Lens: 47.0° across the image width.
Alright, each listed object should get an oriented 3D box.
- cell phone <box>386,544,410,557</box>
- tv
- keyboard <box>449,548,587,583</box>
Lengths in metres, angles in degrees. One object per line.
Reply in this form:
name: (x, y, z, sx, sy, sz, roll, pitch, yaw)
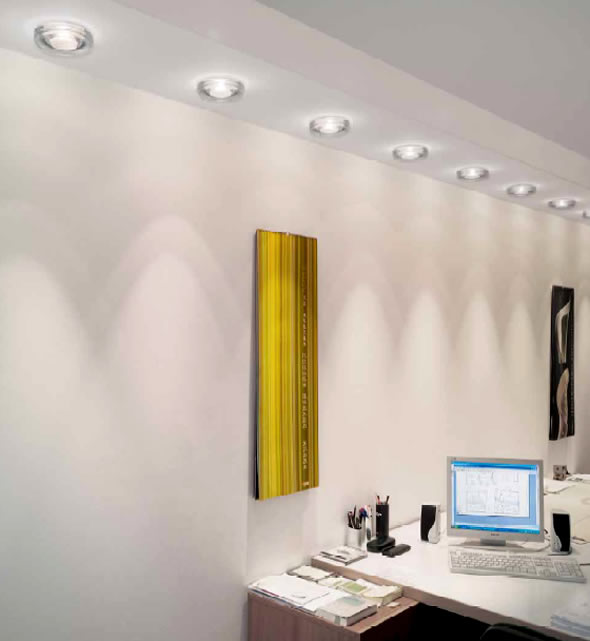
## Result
cell phone: (0.433, 0.952, 2.809, 0.035, 0.013, 0.117, 6, 4, 43)
tv: (0.863, 0.793, 2.893, 0.450, 0.357, 0.142, 0, -14, 6)
keyboard: (0.870, 0.960, 2.673, 0.516, 0.061, 0.310, -1, -7, 8)
